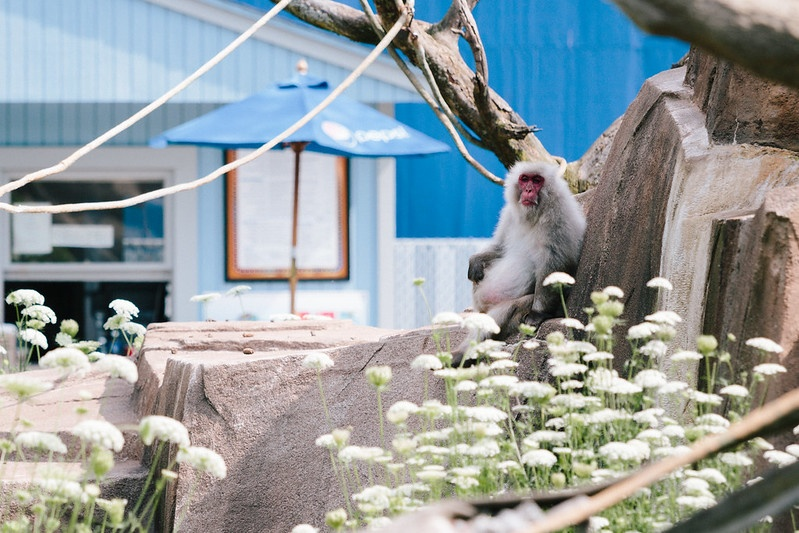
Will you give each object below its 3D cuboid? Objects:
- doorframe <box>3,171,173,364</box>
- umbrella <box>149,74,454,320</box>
[{"bbox_3d":[-2.833,-0.084,19.712,1.955,2.041,0.107,0,6,0],"label":"doorframe"},{"bbox_3d":[-0.957,-0.732,19.784,2.727,1.946,2.739,0,3,-17],"label":"umbrella"}]
